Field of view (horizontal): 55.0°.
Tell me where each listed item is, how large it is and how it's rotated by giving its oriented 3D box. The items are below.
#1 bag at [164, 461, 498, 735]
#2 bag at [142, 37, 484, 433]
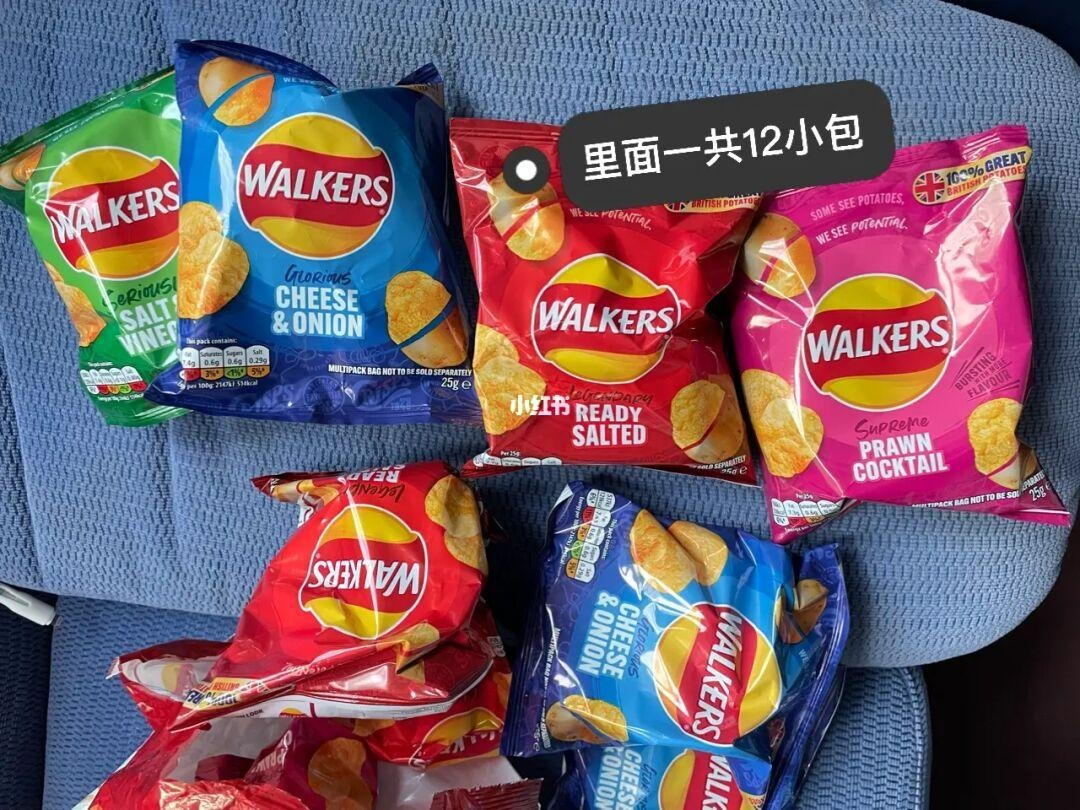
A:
[{"bbox_3d":[-0.267,0.232,1.307,0.390,0.067,0.312,-3,73,-2],"label":"bag"},{"bbox_3d":[-0.267,-0.204,1.286,0.414,0.203,0.426,5,74,1],"label":"bag"}]
